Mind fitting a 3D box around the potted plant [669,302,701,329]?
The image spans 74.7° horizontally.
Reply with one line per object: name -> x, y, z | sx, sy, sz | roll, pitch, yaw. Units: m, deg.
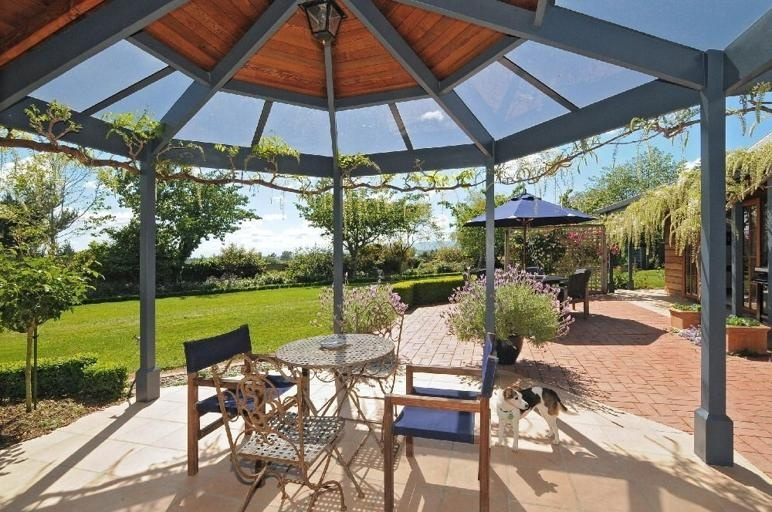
potted plant -> 5.538, 1.123, 9.360 | 0.447, 0.432, 0.615 | -5, -3, 18

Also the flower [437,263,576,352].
flower -> 1.886, 0.809, 7.764 | 1.480, 1.041, 1.609 | 3, 0, -20

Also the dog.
dog -> 1.608, 1.741, 5.707 | 1.273, 0.730, 0.301 | 1, 1, -25

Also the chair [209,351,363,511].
chair -> -1.164, 1.737, 5.308 | 1.216, 1.598, 1.622 | -3, -3, -20

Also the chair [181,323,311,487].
chair -> -1.505, 1.632, 5.363 | 0.823, 1.301, 1.519 | 0, 1, 10

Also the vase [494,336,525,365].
vase -> 1.815, 1.371, 7.567 | 0.431, 0.427, 0.481 | 0, -8, -1

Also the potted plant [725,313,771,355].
potted plant -> 5.628, 1.262, 7.945 | 0.588, 0.630, 0.466 | -5, -3, 22

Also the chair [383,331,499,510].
chair -> 0.500, 1.939, 5.791 | 1.408, 2.130, 1.603 | 1, -3, 8

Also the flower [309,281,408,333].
flower -> -0.287, 0.827, 8.040 | 1.032, 0.697, 1.032 | -3, -6, 36

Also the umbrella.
umbrella -> 2.693, -0.535, 9.951 | 1.695, 1.242, 1.706 | -6, -17, 42

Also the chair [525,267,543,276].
chair -> 3.484, 0.346, 11.965 | 0.325, 0.196, 0.324 | 9, -8, -42
